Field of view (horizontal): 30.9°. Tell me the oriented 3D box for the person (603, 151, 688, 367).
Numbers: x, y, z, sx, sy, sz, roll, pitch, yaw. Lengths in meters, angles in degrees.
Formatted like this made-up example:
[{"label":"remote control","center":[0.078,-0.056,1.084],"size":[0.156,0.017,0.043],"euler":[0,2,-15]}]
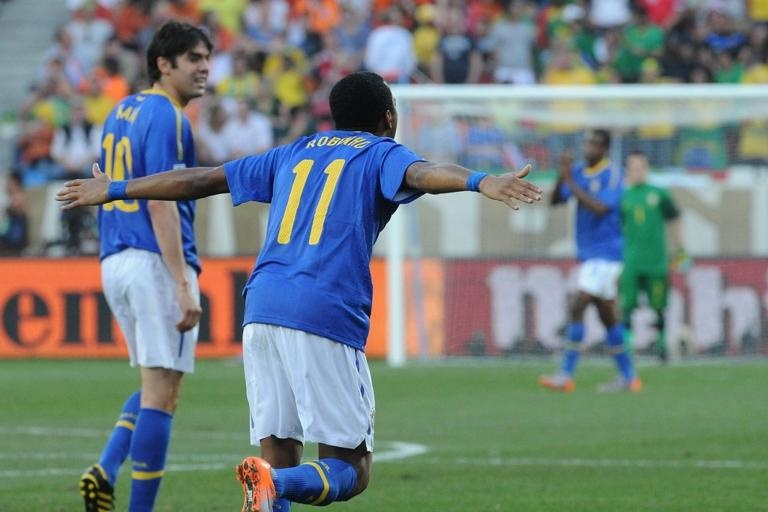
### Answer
[{"label":"person","center":[2.166,-0.035,11.192],"size":[0.541,1.672,0.353],"euler":[1,3,13]}]
